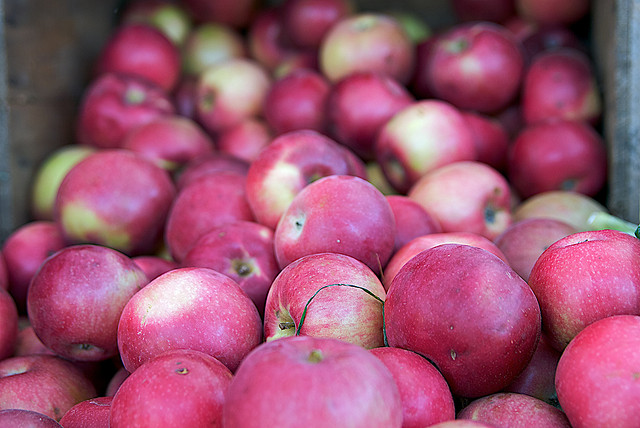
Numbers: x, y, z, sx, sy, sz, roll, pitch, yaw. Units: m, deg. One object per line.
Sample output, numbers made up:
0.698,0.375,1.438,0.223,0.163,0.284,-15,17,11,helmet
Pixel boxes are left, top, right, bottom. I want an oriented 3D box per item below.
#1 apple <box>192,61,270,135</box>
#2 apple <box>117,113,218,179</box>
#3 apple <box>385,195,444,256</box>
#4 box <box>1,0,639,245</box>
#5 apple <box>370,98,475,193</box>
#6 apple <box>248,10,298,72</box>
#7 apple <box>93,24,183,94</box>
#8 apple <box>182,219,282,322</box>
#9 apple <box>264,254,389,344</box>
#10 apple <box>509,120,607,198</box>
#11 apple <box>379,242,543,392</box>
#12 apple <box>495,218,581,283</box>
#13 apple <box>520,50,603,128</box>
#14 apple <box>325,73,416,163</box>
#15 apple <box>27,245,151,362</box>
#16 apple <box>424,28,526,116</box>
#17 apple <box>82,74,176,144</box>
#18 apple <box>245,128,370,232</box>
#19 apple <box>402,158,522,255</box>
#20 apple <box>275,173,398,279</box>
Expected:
-0.251,-0.339,1.720,0.215,0.221,0.207,-14,41,-9,apple
-0.483,-0.222,1.696,0.198,0.085,0.216,-17,22,29,apple
0.213,0.026,1.420,0.113,0.134,0.152,11,51,29,apple
-0.334,-0.349,2.139,1.161,0.840,0.905,0,4,5,box
0.283,-0.194,1.619,0.263,0.258,0.236,-17,-17,11,apple
-0.141,-0.519,1.819,0.133,0.177,0.147,-2,11,1,apple
-0.535,-0.442,1.814,0.224,0.232,0.209,-19,27,-2,apple
-0.187,0.081,1.370,0.184,0.235,0.205,-18,27,-26,apple
0.010,0.139,1.181,0.186,0.205,0.180,-19,20,-20,apple
0.614,-0.137,1.568,0.167,0.215,0.198,0,35,2,apple
0.299,0.203,1.192,0.297,0.343,0.283,-5,2,-45,apple
0.482,0.067,1.307,0.149,0.163,0.146,6,-14,4,apple
0.655,-0.277,1.590,0.168,0.254,0.176,-1,-8,43,apple
0.134,-0.216,1.616,0.182,0.250,0.214,-8,-8,1,apple
-0.525,0.157,1.342,0.240,0.267,0.218,-10,0,-34,apple
0.409,-0.383,1.569,0.232,0.277,0.199,8,24,26,apple
-0.532,-0.251,1.670,0.202,0.235,0.208,8,-16,-29,apple
-0.043,-0.100,1.492,0.220,0.287,0.249,12,3,35,apple
0.355,-0.041,1.451,0.234,0.258,0.254,12,46,10,apple
0.039,0.055,1.346,0.168,0.215,0.242,-6,49,51,apple
